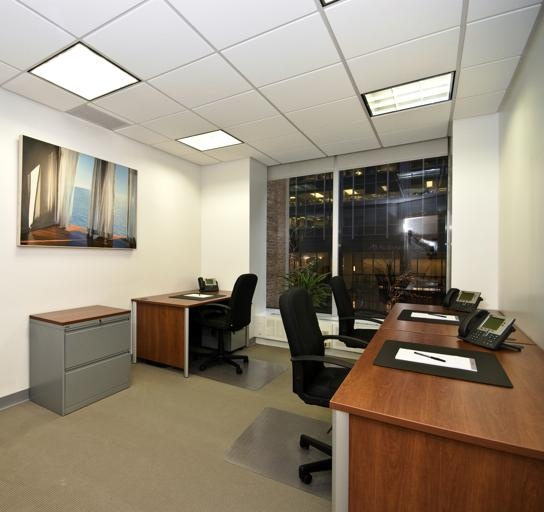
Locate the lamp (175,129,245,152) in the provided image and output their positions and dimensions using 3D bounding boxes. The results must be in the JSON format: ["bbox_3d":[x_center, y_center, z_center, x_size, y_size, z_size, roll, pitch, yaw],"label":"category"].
[{"bbox_3d":[-0.668,-1.253,4.411,0.658,0.142,0.498,6,10,31],"label":"lamp"}]

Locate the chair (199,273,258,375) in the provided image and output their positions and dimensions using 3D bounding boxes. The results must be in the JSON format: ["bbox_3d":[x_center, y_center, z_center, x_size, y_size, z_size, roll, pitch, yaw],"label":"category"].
[{"bbox_3d":[-0.462,0.671,4.331,0.582,1.064,0.816,0,9,-4],"label":"chair"}]

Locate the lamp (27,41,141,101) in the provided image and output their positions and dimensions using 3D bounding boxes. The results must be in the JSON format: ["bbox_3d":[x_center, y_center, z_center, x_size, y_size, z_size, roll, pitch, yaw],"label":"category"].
[{"bbox_3d":[-1.413,-1.394,3.052,0.662,0.187,0.506,6,10,28],"label":"lamp"}]

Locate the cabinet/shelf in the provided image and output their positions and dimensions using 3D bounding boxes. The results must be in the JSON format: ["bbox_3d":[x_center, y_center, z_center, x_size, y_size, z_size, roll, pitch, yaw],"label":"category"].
[{"bbox_3d":[-1.655,0.850,3.505,0.548,0.733,0.670,4,5,36],"label":"cabinet/shelf"}]
